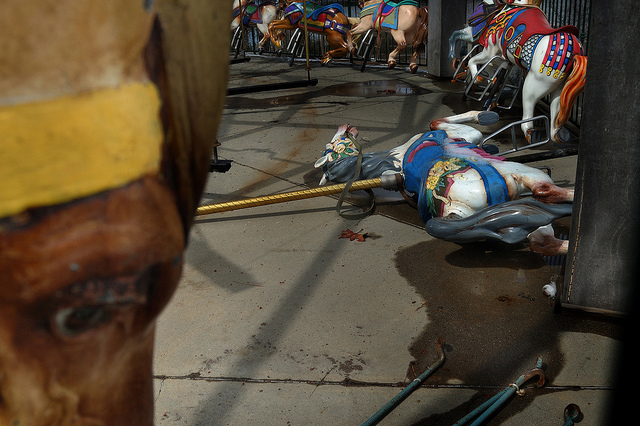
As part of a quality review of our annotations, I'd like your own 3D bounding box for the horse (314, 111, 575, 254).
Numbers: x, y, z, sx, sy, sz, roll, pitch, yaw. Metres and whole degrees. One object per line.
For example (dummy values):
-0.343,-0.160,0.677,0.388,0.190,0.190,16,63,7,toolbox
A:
0.945,-0.227,4.817,1.794,0.965,2.242,0,22,-8,horse
